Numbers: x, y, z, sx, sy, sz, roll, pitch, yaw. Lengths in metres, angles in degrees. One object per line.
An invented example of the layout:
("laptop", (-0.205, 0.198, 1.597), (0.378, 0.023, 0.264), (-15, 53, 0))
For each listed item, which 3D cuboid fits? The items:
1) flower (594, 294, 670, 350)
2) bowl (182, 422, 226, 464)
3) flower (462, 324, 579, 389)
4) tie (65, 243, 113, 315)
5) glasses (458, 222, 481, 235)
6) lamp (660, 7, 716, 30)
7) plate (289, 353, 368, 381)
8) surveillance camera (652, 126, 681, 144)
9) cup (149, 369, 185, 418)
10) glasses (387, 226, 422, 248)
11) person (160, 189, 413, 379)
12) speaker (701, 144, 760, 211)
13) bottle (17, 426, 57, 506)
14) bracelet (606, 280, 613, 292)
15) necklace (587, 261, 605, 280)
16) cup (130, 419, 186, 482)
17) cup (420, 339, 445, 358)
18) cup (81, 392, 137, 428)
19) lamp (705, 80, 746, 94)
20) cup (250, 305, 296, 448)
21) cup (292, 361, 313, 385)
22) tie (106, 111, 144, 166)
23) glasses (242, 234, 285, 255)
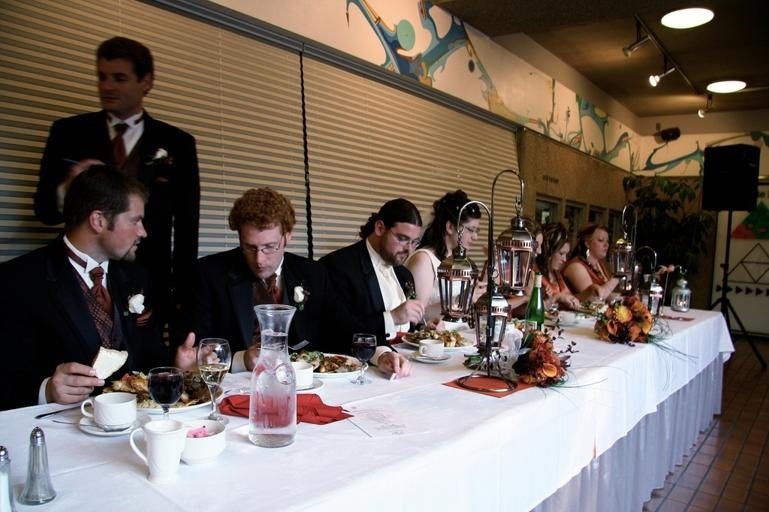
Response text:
("flower", (1.504, 0.394, 3.256), (0.328, 0.213, 0.316), (-2, 1, 0))
("bowl", (-0.615, 0.633, 1.816), (0.137, 0.080, 0.138), (1, -6, 0))
("flower", (0.645, 0.474, 2.545), (0.447, 0.229, 0.360), (0, 9, -1))
("tie", (-1.466, 0.119, 2.722), (0.070, 0.313, 0.220), (-16, 0, 4))
("glasses", (0.590, -0.197, 3.717), (0.203, 0.064, 0.200), (-2, -1, 36))
("lamp", (3.092, -2.446, 5.418), (0.424, 0.102, 0.406), (0, 0, -37))
("plate", (-0.262, 0.511, 2.458), (0.201, 0.026, 0.199), (3, 1, 29))
("surveillance camera", (5.129, -2.176, 9.605), (0.351, 0.192, 0.344), (-10, 12, -36))
("cup", (-0.833, 0.514, 2.017), (0.115, 0.196, 0.183), (0, 1, -24))
("glasses", (0.146, -0.137, 3.453), (0.145, 0.052, 0.148), (9, -20, -39))
("person", (-0.482, 0.168, 2.992), (1.426, 0.958, 0.988), (1, 9, 19))
("speaker", (4.661, -1.050, 7.146), (0.805, 0.771, 1.446), (7, 16, 22))
("bottle", (-1.107, 0.647, 1.693), (0.094, 0.226, 0.163), (0, 1, -34))
("bracelet", (2.085, 0.272, 4.881), (0.088, 0.076, 0.088), (5, 7, 36))
("necklace", (2.175, 0.151, 5.474), (0.131, 0.061, 0.177), (-1, 33, -48))
("cup", (-0.740, 0.644, 1.767), (0.186, 0.162, 0.124), (2, -2, -24))
("cup", (0.256, 0.479, 2.787), (0.108, 0.049, 0.083), (-5, -3, 30))
("cup", (-1.051, 0.571, 2.025), (0.188, 0.105, 0.135), (3, 1, -1))
("lamp", (4.995, -2.443, 7.741), (0.473, 0.111, 0.756), (0, 0, 34))
("cup", (-0.408, 0.429, 1.943), (0.174, 0.509, 0.213), (0, 1, -10))
("cup", (-0.350, 0.503, 2.325), (0.103, 0.077, 0.103), (0, -4, 0))
("tie", (-1.695, -0.771, 3.412), (0.257, 0.090, 0.536), (12, -38, -22))
("glasses", (-0.669, -0.058, 2.915), (0.233, 0.096, 0.107), (0, 1, -13))
